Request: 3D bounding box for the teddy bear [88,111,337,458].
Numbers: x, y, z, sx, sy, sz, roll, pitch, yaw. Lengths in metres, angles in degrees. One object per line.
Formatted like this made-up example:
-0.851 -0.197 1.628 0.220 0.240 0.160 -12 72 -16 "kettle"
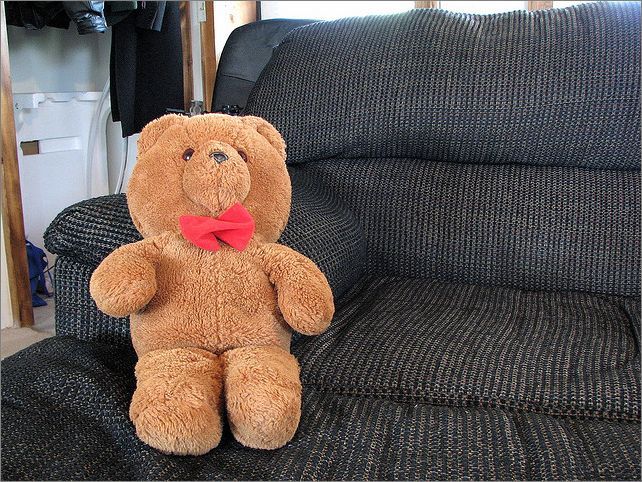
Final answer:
-0.170 0.050 0.915 0.451 0.477 0.385 -4 14 -14 "teddy bear"
